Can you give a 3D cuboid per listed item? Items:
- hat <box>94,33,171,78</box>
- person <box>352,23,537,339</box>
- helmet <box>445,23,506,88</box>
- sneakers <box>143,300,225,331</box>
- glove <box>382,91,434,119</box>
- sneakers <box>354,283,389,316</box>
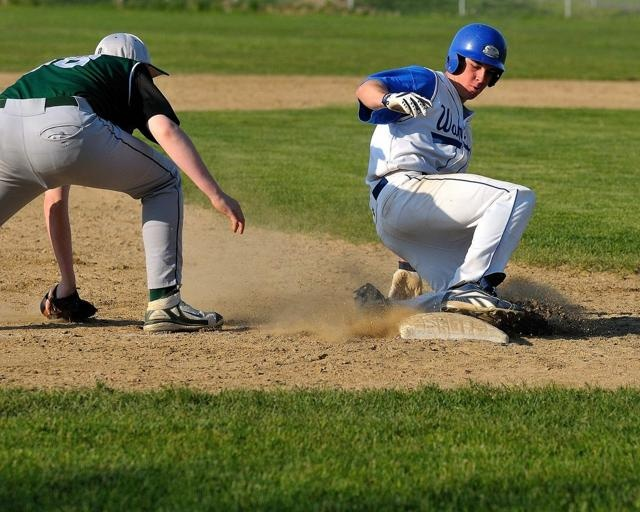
[{"bbox_3d":[-1.287,-1.392,8.951,0.446,0.218,0.299,5,15,-20],"label":"hat"},{"bbox_3d":[0.881,-0.557,9.165,1.283,2.078,1.061,10,16,23],"label":"person"},{"bbox_3d":[1.137,-1.466,9.416,0.387,0.337,0.432,22,8,-36],"label":"helmet"},{"bbox_3d":[-0.961,0.427,9.182,0.608,0.240,0.198,-2,7,-19],"label":"sneakers"},{"bbox_3d":[0.585,-0.997,8.813,0.259,0.082,0.182,17,28,-19],"label":"glove"},{"bbox_3d":[0.367,0.319,9.483,0.249,0.087,0.195,37,-29,-19],"label":"sneakers"}]
